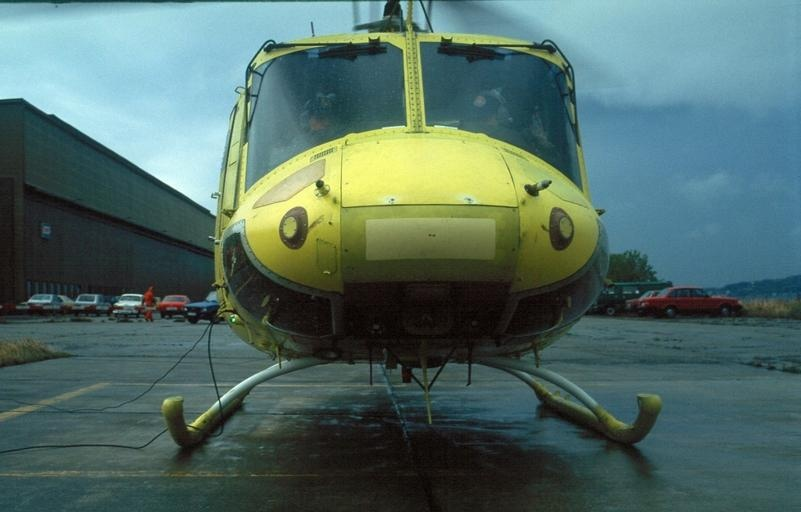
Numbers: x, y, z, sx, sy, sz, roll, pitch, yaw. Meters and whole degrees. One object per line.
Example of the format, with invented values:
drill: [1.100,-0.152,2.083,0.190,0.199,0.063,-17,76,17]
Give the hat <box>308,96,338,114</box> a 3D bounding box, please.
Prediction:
hat: [-0.819,-1.587,7.955,0.204,0.099,0.258,2,-26,-6]

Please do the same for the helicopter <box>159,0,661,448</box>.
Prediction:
helicopter: [0.084,-0.224,10.580,3.333,4.082,7.133,-1,-7,0]
